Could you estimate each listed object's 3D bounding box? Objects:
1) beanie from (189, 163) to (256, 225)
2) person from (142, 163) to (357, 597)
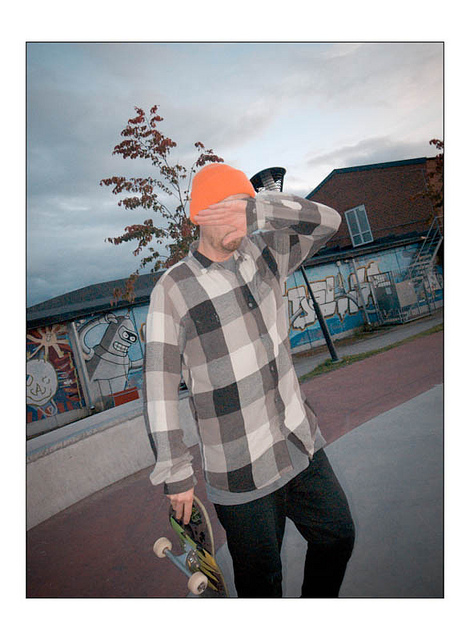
[{"bbox_3d":[-0.056,-0.651,1.924,0.321,0.261,0.245,-15,-14,15],"label":"beanie"},{"bbox_3d":[0.077,0.361,1.801,1.001,1.840,0.616,-14,8,-16],"label":"person"}]
